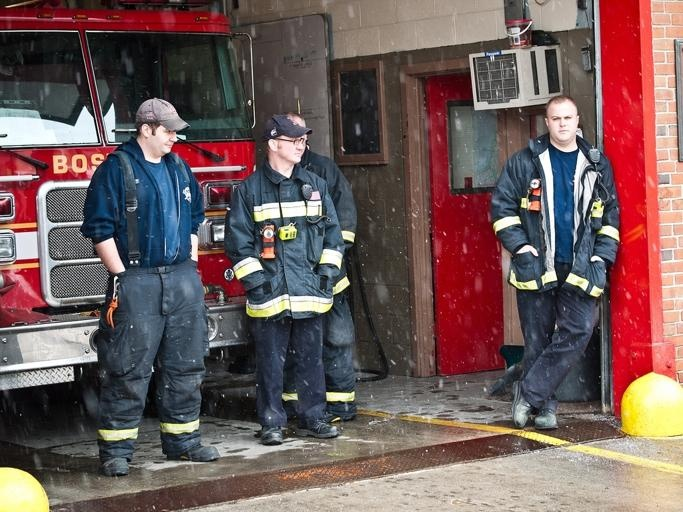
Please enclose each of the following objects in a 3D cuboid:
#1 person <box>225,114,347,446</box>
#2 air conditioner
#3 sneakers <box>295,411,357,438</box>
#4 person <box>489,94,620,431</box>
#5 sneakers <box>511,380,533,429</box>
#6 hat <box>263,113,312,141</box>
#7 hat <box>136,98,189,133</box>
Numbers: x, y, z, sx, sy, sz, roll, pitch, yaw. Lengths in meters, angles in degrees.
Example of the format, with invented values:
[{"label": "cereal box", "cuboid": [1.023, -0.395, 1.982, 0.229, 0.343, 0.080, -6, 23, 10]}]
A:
[{"label": "person", "cuboid": [-0.402, 0.175, 6.035, 0.861, 2.393, 0.431, -2, 1, -7]}, {"label": "air conditioner", "cuboid": [1.483, -1.523, 7.018, 0.770, 0.489, 0.604, 2, 11, 29]}, {"label": "sneakers", "cuboid": [-0.122, 1.290, 6.244, 0.415, 0.237, 0.160, -3, -5, 30]}, {"label": "person", "cuboid": [1.562, 0.059, 6.021, 0.884, 2.413, 0.395, -1, 1, 21]}, {"label": "sneakers", "cuboid": [1.327, 1.125, 6.077, 0.141, 0.396, 0.123, -1, -9, 28]}, {"label": "hat", "cuboid": [-0.409, -0.918, 5.968, 0.253, 0.144, 0.181, -6, 13, 7]}, {"label": "hat", "cuboid": [-1.180, -0.943, 5.456, 0.287, 0.184, 0.208, 4, 14, 10]}]
